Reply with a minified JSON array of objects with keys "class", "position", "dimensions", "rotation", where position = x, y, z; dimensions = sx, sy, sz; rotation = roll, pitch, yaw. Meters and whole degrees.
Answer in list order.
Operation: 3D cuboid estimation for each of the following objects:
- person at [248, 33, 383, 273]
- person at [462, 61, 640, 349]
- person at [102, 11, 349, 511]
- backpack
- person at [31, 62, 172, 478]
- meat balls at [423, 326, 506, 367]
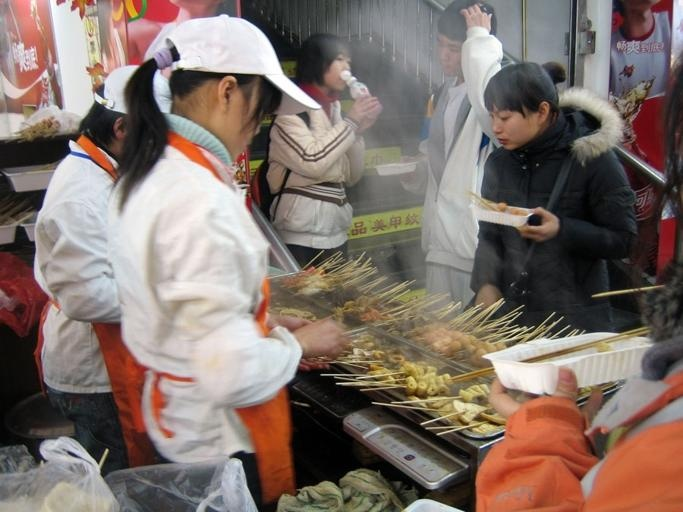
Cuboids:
[{"class":"person","position":[-0.214,-0.812,4.270],"dimensions":[0.909,2.020,0.836],"rotation":[-10,21,-37]},{"class":"person","position":[1.370,-0.279,3.128],"dimensions":[0.834,1.707,0.852],"rotation":[-11,17,-41]},{"class":"person","position":[-0.461,0.037,1.839],"dimensions":[0.724,1.632,0.671],"rotation":[-1,16,-29]},{"class":"backpack","position":[-0.576,-0.758,4.264],"dimensions":[0.270,0.784,0.576],"rotation":[11,-1,33]},{"class":"person","position":[-1.004,0.189,2.491],"dimensions":[0.731,2.248,0.826],"rotation":[-11,20,-34]},{"class":"meat balls","position":[0.567,0.408,2.467],"dimensions":[0.301,0.070,0.178],"rotation":[14,19,29]}]
